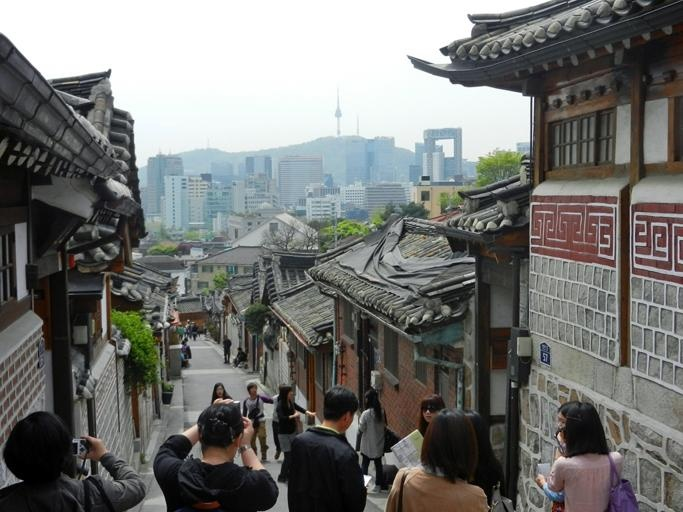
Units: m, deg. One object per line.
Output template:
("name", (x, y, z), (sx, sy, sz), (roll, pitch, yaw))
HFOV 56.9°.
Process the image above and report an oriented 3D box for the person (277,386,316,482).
("person", (-0.759, 2.884, 10.102), (0.683, 1.609, 0.462), (-2, -1, -19))
